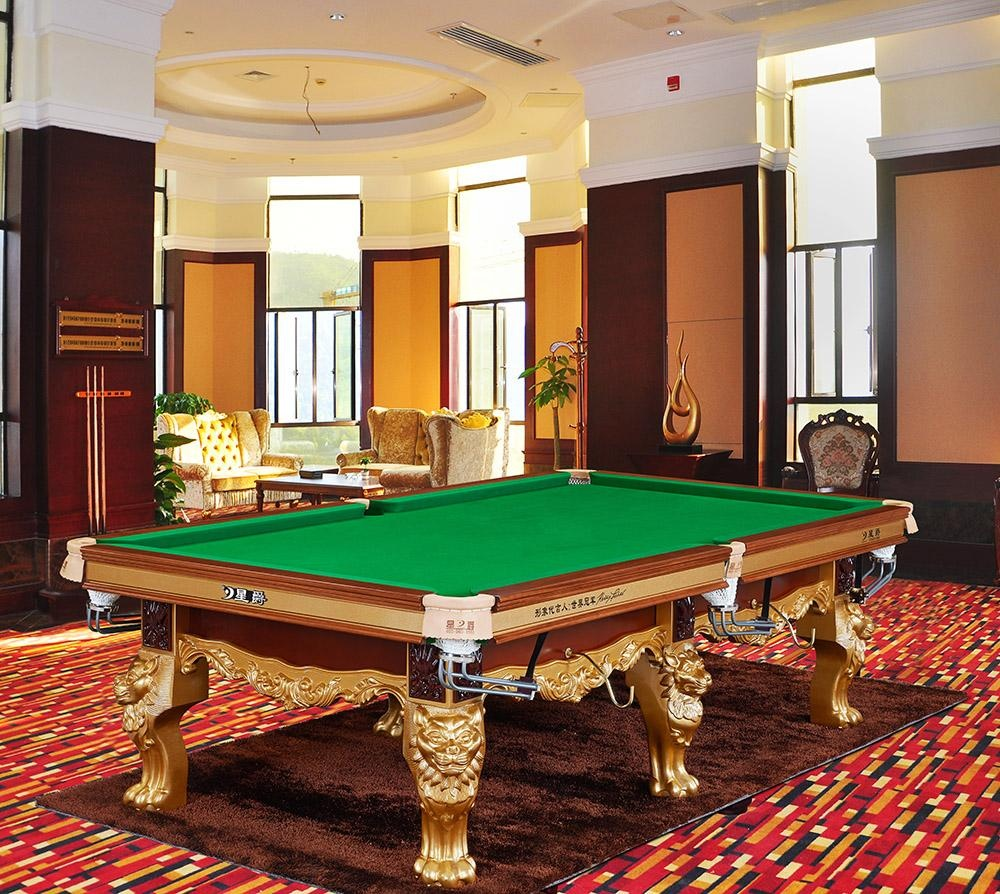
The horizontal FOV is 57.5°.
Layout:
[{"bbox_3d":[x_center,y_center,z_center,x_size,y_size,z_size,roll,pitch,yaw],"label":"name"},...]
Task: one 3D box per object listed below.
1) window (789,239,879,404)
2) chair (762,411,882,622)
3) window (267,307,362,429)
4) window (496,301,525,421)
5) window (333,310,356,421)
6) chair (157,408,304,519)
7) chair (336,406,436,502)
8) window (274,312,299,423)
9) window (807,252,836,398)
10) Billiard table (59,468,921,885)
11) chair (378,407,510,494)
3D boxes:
[{"bbox_3d":[2.770,-1.030,7.496,0.633,1.313,0.088,1,1,15],"label":"window"},{"bbox_3d":[2.434,0.335,6.506,0.902,1.093,0.762,5,17,7],"label":"chair"},{"bbox_3d":[-2.514,-1.056,12.182,1.508,1.513,0.382,3,6,36],"label":"window"},{"bbox_3d":[0.161,-1.038,11.429,0.172,1.280,0.294,21,24,2],"label":"window"},{"bbox_3d":[-2.061,-1.083,12.058,0.298,1.428,0.106,0,1,-5],"label":"window"},{"bbox_3d":[-2.740,0.131,9.326,0.774,0.858,1.369,12,11,32],"label":"chair"},{"bbox_3d":[-1.204,0.087,9.845,0.931,0.898,0.796,6,15,25],"label":"chair"},{"bbox_3d":[-2.818,-1.046,12.091,0.405,1.551,0.215,4,5,35],"label":"window"},{"bbox_3d":[2.696,-0.967,7.565,0.067,1.140,0.270,-5,2,-22],"label":"window"},{"bbox_3d":[0.144,0.597,3.037,1.453,0.934,2.435,1,1,43],"label":"Billiard table"},{"bbox_3d":[-0.637,0.073,9.489,1.108,1.084,1.105,7,10,41],"label":"chair"}]
